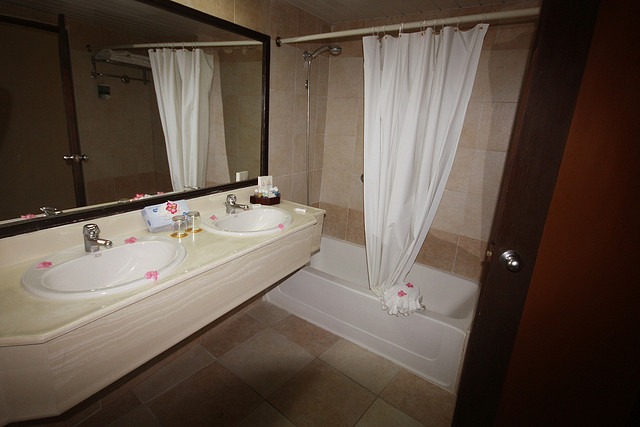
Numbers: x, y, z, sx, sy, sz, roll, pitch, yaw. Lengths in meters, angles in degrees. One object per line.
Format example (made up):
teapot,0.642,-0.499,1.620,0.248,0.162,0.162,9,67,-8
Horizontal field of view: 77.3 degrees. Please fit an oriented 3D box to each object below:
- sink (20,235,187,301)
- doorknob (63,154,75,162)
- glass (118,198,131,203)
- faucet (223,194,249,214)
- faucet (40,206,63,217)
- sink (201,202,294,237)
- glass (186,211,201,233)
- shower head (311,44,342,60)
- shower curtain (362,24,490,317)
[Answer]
sink,-1.156,0.329,2.203,0.784,0.192,0.570,-15,25,-38
doorknob,-1.410,-0.310,2.250,0.025,0.026,0.045,9,10,39
glass,-1.218,-0.075,2.489,0.017,0.020,0.062,17,15,38
faucet,-0.601,-0.069,2.970,0.251,0.177,0.075,11,16,30
faucet,-1.499,-0.012,2.232,0.028,0.042,0.094,11,8,8
sink,-0.446,0.071,2.908,0.323,0.138,0.334,21,29,33
glass,-0.833,0.061,2.635,0.080,0.129,0.084,24,28,25
shower head,0.061,-1.446,3.589,0.264,0.124,0.596,2,20,2
shower curtain,0.598,-0.244,2.817,0.779,2.003,0.420,8,21,18
